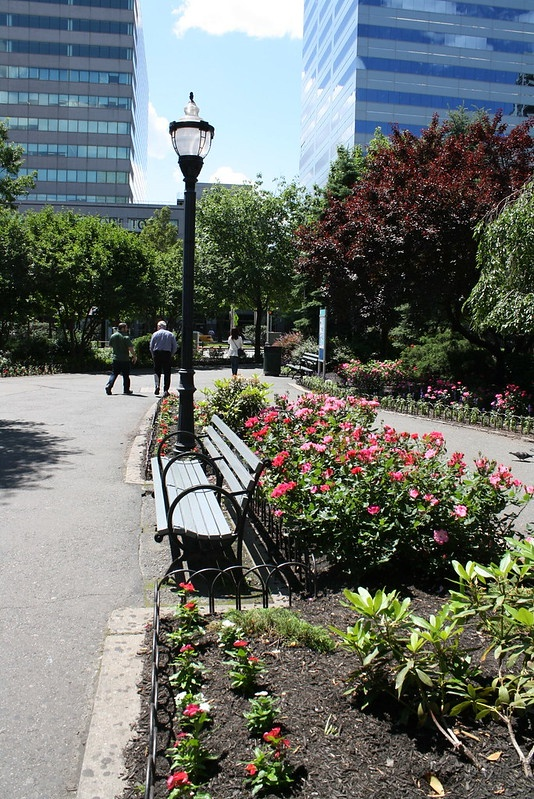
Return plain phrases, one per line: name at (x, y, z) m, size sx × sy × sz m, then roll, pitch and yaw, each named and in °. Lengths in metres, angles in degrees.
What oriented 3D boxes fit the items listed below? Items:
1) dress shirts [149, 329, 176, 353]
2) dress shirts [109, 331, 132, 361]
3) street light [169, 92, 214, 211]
dress shirts at (-2.354, -1.324, 14.607) m, size 0.548 × 0.572 × 0.570 m, roll 0°, pitch 5°, yaw -11°
dress shirts at (-3.525, -1.275, 15.522) m, size 0.492 × 0.753 × 0.418 m, roll 0°, pitch 5°, yaw -3°
street light at (-0.763, -2.590, 6.531) m, size 0.408 × 1.106 × 0.561 m, roll -2°, pitch 6°, yaw -30°
